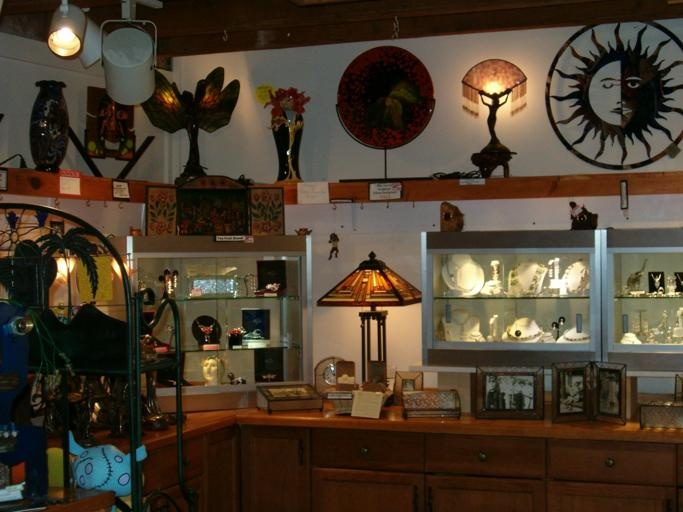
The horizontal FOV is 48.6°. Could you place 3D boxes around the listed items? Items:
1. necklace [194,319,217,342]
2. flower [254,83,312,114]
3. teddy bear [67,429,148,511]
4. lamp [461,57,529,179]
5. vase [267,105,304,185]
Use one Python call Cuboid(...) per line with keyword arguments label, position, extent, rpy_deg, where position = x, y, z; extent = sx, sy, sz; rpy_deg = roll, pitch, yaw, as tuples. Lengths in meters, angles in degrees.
Cuboid(label="necklace", position=(-0.986, 0.539, 5.494), extent=(0.146, 0.176, 0.041), rpy_deg=(-1, 4, -14))
Cuboid(label="flower", position=(-0.480, -1.267, 5.939), extent=(0.321, 0.161, 0.335), rpy_deg=(-8, -27, 25))
Cuboid(label="teddy bear", position=(-1.296, 1.161, 4.170), extent=(0.470, 0.420, 0.310), rpy_deg=(-3, 3, -40))
Cuboid(label="lamp", position=(1.158, -1.042, 5.709), extent=(0.496, 0.973, 0.355), rpy_deg=(0, -6, 7))
Cuboid(label="vase", position=(-0.433, -0.842, 5.885), extent=(0.239, 0.562, 0.231), rpy_deg=(1, -6, -5))
